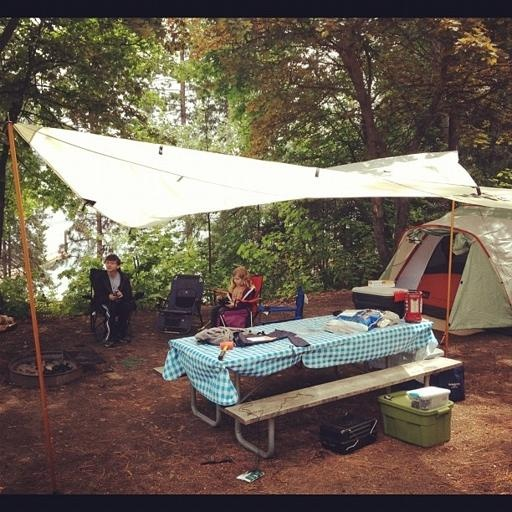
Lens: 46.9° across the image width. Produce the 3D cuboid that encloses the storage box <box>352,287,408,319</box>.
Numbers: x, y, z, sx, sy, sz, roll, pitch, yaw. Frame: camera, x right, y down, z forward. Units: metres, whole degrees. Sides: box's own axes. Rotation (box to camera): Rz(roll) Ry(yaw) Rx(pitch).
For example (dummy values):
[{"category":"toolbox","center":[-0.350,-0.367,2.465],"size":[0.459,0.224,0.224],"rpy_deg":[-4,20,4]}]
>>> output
[{"category":"storage box","center":[1.696,0.675,8.218],"size":[0.454,0.397,0.716],"rpy_deg":[2,4,-36]}]

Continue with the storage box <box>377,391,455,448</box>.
[{"category":"storage box","center":[1.416,1.442,5.268],"size":[0.605,0.284,0.485],"rpy_deg":[1,4,41]}]

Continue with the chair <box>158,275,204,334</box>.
[{"category":"chair","center":[-1.171,0.727,9.043],"size":[0.766,0.724,0.731],"rpy_deg":[-20,22,-41]}]

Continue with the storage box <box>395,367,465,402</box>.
[{"category":"storage box","center":[1.819,1.301,6.032],"size":[0.410,0.168,0.541],"rpy_deg":[-3,1,-31]}]

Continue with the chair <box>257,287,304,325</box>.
[{"category":"chair","center":[0.297,0.683,7.759],"size":[0.658,0.408,0.348],"rpy_deg":[-4,-1,-9]}]

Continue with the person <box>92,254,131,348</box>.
[{"category":"person","center":[-2.017,0.608,8.339],"size":[0.539,1.246,0.639],"rpy_deg":[-6,10,-28]}]

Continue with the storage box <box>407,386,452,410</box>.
[{"category":"storage box","center":[1.519,1.228,5.100],"size":[0.304,0.095,0.194],"rpy_deg":[3,-5,-35]}]

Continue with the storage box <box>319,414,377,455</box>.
[{"category":"storage box","center":[0.790,1.519,5.103],"size":[0.475,0.218,0.295],"rpy_deg":[-7,10,-41]}]

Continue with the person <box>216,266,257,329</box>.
[{"category":"person","center":[-0.267,0.550,7.607],"size":[0.532,0.773,0.470],"rpy_deg":[-17,27,-32]}]

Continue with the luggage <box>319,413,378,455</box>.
[{"category":"luggage","center":[0.752,1.451,5.022],"size":[0.468,0.180,0.284],"rpy_deg":[-3,4,-39]}]
